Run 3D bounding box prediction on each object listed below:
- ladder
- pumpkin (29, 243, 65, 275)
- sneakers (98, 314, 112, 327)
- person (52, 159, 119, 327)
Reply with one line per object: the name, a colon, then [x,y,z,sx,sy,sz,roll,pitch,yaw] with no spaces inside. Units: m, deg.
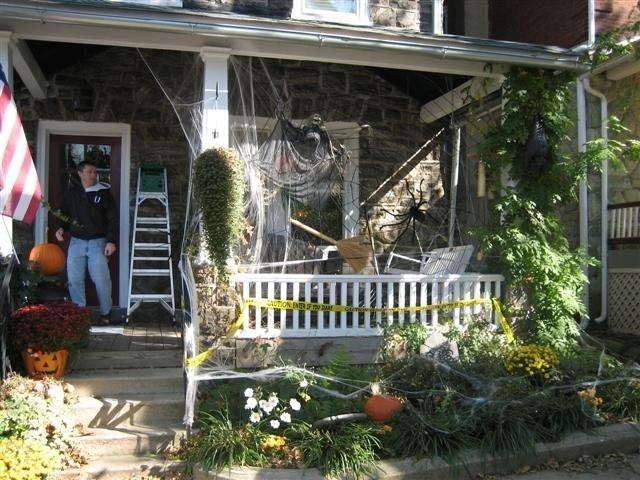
ladder: [-2.451,0.014,10.411,0.613,2.416,0.657,2,5,-17]
pumpkin: [-3.748,0.266,9.932,0.416,0.492,0.469,-1,3,-6]
sneakers: [-2.965,1.108,9.918,0.172,0.175,0.114,7,-5,-11]
person: [-3.244,0.013,10.100,0.697,2.383,0.799,0,-1,-21]
